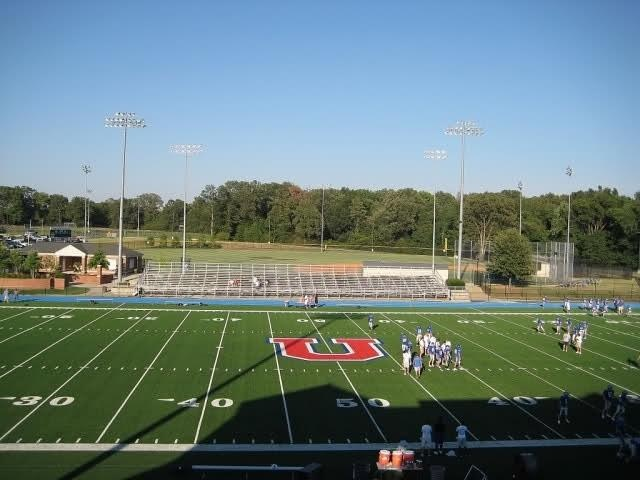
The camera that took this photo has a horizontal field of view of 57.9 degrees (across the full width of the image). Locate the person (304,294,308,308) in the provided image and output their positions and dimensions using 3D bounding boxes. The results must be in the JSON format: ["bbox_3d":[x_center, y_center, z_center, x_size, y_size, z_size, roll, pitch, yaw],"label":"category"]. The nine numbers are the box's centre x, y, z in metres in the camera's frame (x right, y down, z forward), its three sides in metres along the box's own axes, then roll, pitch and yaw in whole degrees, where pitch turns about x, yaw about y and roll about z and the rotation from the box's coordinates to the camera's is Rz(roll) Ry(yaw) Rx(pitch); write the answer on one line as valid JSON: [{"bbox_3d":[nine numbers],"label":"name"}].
[{"bbox_3d":[-1.092,4.944,46.461,0.342,0.774,1.138,1,9,-3],"label":"person"}]

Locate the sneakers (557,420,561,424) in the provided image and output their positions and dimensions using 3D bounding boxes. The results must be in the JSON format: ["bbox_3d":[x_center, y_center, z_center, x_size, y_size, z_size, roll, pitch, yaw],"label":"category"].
[{"bbox_3d":[10.049,7.712,24.498,0.134,0.171,0.092,16,-15,-32],"label":"sneakers"}]

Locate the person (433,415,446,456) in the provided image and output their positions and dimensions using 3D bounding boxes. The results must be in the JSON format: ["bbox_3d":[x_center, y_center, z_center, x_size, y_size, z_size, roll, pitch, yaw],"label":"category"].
[{"bbox_3d":[4.712,7.453,22.934,0.460,1.337,1.639,4,10,14],"label":"person"}]
